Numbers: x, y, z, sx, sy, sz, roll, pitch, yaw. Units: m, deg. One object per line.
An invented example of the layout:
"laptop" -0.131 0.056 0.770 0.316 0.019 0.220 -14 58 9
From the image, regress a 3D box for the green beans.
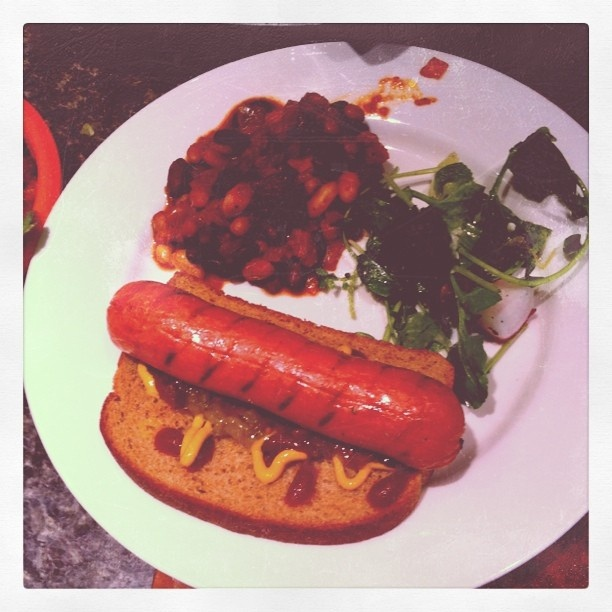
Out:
"green beans" -0.112 -0.364 2.093 0.634 0.116 0.628 16 83 2

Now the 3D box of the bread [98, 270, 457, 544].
"bread" -0.142 0.335 2.154 1.166 0.342 0.626 15 89 3
